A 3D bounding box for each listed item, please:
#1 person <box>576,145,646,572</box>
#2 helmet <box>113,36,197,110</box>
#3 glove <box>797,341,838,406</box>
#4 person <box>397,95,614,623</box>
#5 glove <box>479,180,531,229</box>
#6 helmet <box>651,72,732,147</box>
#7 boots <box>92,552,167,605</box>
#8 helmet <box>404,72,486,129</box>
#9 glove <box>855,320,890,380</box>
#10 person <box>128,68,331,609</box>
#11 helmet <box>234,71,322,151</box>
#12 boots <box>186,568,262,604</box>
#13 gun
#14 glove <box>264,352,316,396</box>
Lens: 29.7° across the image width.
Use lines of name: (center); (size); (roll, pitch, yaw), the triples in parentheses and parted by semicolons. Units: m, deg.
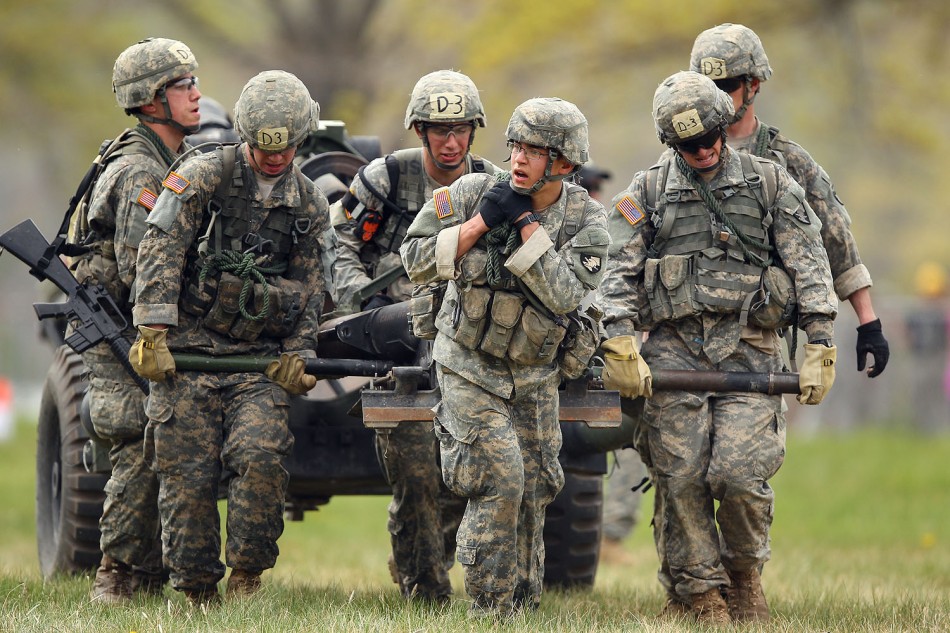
person: (1.208, 0.402, 16.256); (0.739, 3.707, 0.843); (2, 2, 1)
helmet: (-2.453, -1.928, 13.734); (0.549, 0.505, 0.526); (-20, 17, 4)
glove: (2.468, 0.423, 13.127); (0.317, 0.679, 0.531); (0, -1, 16)
person: (0.303, 0.306, 12.536); (1.231, 3.496, 1.020); (-3, -13, 10)
glove: (0.199, -0.794, 12.428); (0.351, 0.369, 0.124); (-1, -13, 0)
helmet: (1.521, -1.504, 12.813); (0.454, 0.555, 0.438); (-20, -45, 14)
boots: (-2.619, 1.987, 13.482); (0.435, 0.330, 0.319); (4, -1, -6)
helmet: (-0.231, -1.632, 13.396); (0.439, 0.322, 0.468); (-1, 9, -6)
glove: (2.838, 0.242, 13.136); (0.157, 0.411, 0.317); (4, 7, 31)
person: (-1.761, 0.147, 13.027); (1.354, 3.794, 0.965); (-1, -13, 0)
helmet: (-1.452, -1.564, 12.997); (0.492, 0.596, 0.459); (3, -30, -9)
boots: (-1.822, 1.993, 13.015); (0.540, 0.259, 0.322); (2, -14, -11)
gun: (-2.965, -0.086, 13.323); (1.101, 1.306, 0.284); (1, -13, -9)
glove: (-1.338, 0.427, 13.122); (0.322, 0.251, 0.133); (40, -3, -15)
